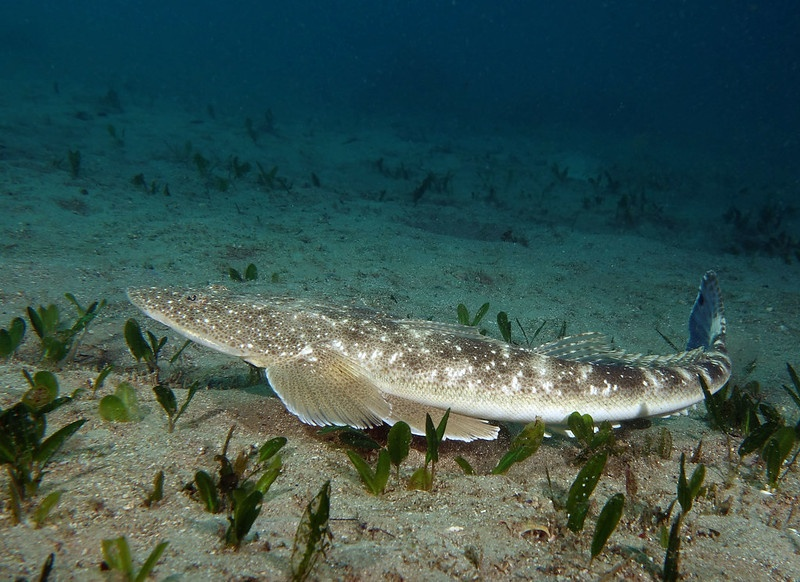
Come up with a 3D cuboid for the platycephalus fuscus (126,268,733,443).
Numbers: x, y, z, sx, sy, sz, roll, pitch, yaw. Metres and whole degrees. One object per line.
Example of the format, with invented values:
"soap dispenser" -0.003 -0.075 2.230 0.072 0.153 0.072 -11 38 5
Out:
"platycephalus fuscus" 0.340 0.901 8.691 6.986 1.213 1.432 8 14 -8
